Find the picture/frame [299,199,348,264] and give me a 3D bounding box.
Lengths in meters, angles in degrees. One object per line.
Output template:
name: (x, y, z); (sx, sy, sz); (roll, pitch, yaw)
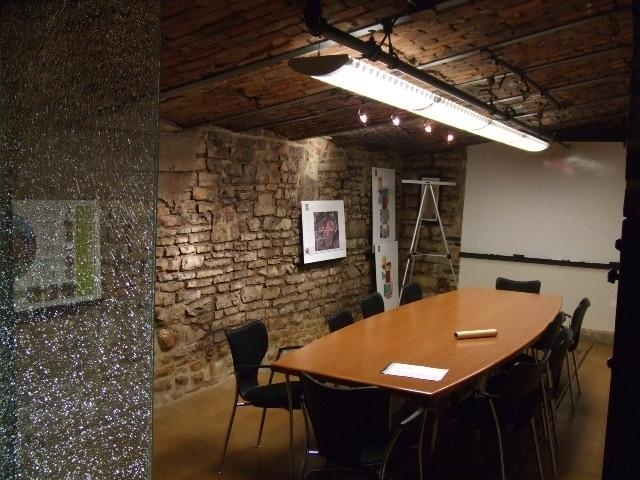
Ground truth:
picture/frame: (0.063, -0.122, 5.507); (0.014, 0.727, 0.776); (-1, -3, -41)
